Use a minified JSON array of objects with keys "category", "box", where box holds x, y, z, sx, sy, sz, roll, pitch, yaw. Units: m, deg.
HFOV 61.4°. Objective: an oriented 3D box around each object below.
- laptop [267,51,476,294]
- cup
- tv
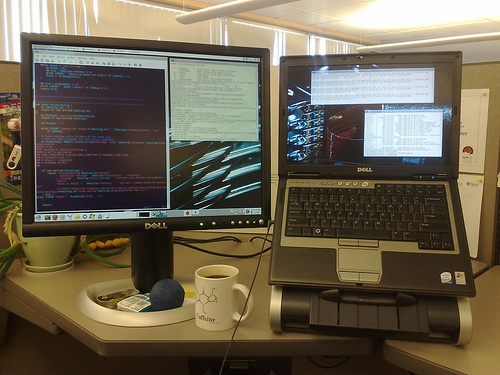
[{"category":"laptop","box":[0.243,0.001,0.981,0.487,0.343,0.490,2,46,8]},{"category":"cup","box":[-0.057,0.220,0.863,0.146,0.098,0.089,3,3,21]},{"category":"tv","box":[-0.226,-0.108,0.877,0.514,0.340,0.054,-1,3,-14]}]
